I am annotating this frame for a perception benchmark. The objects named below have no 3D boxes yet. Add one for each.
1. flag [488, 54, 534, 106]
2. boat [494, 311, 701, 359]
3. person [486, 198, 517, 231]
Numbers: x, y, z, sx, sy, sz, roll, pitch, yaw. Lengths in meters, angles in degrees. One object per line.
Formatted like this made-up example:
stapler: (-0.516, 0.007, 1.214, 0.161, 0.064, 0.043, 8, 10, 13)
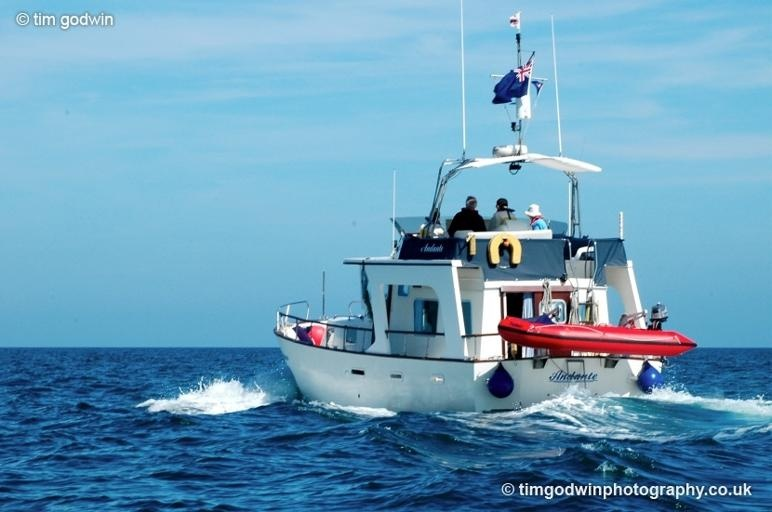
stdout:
flag: (3.713, -5.255, 39.458, 1.233, 1.508, 0.154, -14, 44, -15)
boat: (5.272, 2.203, 36.006, 4.823, 0.939, 2.443, 2, -3, -9)
person: (3.396, -1.166, 39.278, 0.774, 1.107, 0.848, -1, -2, -28)
